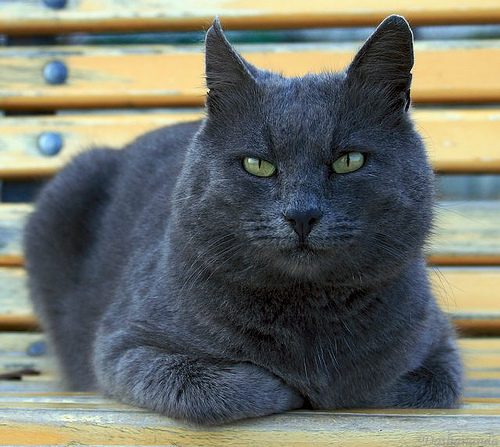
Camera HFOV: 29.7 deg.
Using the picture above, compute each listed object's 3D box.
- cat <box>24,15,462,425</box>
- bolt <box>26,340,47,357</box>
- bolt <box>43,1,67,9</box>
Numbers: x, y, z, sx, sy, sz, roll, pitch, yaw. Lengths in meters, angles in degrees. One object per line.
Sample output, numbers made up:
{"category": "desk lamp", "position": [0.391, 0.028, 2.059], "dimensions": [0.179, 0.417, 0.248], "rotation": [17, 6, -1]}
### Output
{"category": "cat", "position": [-0.094, 0.046, 2.608], "dimensions": [1.253, 1.027, 0.772], "rotation": [-6, -26, 7]}
{"category": "bolt", "position": [-0.710, 0.418, 3.144], "dimensions": [0.069, 0.060, 0.023], "rotation": [18, -3, -1]}
{"category": "bolt", "position": [-0.654, -0.739, 3.172], "dimensions": [0.045, 0.011, 0.037], "rotation": [-1, 0, 16]}
